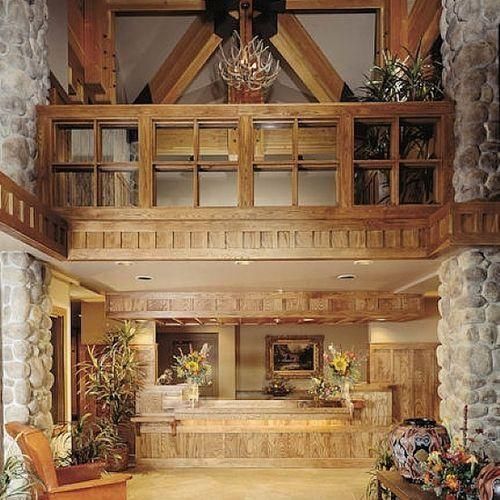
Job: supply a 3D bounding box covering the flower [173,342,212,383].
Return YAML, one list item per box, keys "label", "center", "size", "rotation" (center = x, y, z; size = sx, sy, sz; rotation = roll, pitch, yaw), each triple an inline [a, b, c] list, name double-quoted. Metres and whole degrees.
- label: "flower"
  center: [-0.929, 1.752, 11.275]
  size: [0.419, 0.500, 0.410]
  rotation: [13, 10, 24]

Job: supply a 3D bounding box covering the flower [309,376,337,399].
- label: "flower"
  center: [1.133, 2.105, 10.882]
  size: [0.445, 0.337, 0.457]
  rotation: [0, 0, -5]

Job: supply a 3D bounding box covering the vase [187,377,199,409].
- label: "vase"
  center: [-0.858, 2.171, 10.760]
  size: [0.170, 0.355, 0.508]
  rotation: [0, 0, -5]

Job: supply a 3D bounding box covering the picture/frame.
- label: "picture/frame"
  center: [0.822, 2.025, 13.446]
  size: [0.811, 0.624, 0.066]
  rotation: [0, -6, -2]

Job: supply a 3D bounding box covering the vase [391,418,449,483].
- label: "vase"
  center: [1.620, 1.915, 6.838]
  size: [0.497, 0.482, 0.508]
  rotation: [-2, -7, 19]
